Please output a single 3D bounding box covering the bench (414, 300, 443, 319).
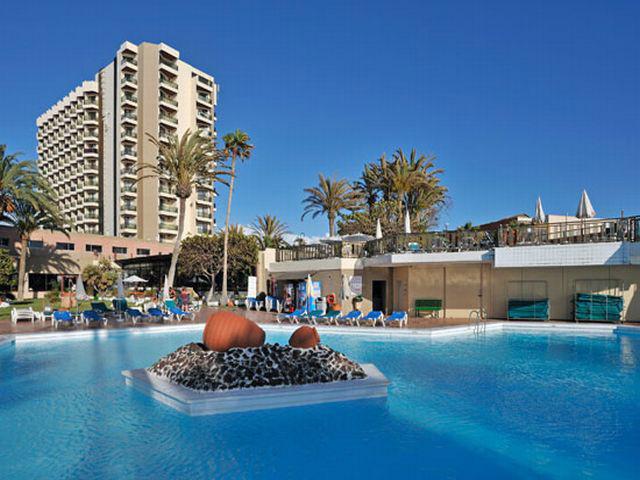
[{"bbox_3d":[6.070,3.880,26.656,1.497,1.005,1.133,-2,7,12],"label":"bench"}]
